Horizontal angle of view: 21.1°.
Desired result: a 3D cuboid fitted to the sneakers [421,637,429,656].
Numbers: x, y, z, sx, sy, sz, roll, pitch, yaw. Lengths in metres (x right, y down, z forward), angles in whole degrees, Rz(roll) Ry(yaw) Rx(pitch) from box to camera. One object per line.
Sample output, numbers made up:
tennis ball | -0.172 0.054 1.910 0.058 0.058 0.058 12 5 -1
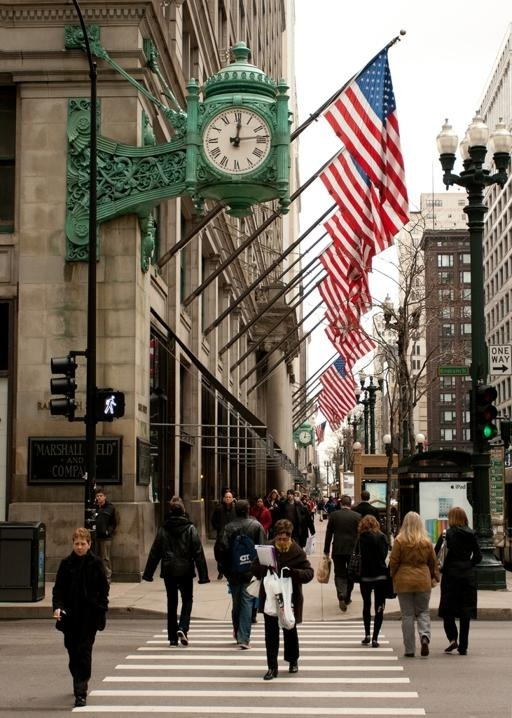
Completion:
sneakers | 1.924 3.270 15.547 0.063 0.231 0.144 0 -4 5

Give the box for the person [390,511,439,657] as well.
person | 1.825 2.629 15.950 0.563 1.667 0.586 -2 -10 20

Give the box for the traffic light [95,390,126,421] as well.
traffic light | -2.149 0.696 20.603 0.385 0.621 0.401 -1 -9 4

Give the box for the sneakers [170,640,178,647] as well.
sneakers | -0.982 3.442 16.549 0.039 0.059 0.127 2 0 4

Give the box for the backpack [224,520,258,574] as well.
backpack | -0.129 2.288 16.638 0.370 0.680 0.336 0 27 -1

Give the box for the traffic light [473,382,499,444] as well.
traffic light | 3.673 0.863 22.043 0.395 1.026 1.708 -1 -11 10

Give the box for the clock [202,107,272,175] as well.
clock | -0.266 -3.858 24.334 0.994 1.226 0.107 1 -4 8

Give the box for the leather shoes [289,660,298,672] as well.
leather shoes | 0.413 3.328 14.834 0.067 0.103 0.226 -2 -18 3

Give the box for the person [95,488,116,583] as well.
person | -2.511 2.926 22.466 0.470 1.563 0.427 1 -20 -6

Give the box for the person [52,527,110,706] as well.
person | -1.727 2.509 13.426 0.516 1.714 0.625 -3 -10 24

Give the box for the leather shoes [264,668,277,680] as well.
leather shoes | 0.168 3.331 14.430 0.130 0.112 0.351 1 -11 3

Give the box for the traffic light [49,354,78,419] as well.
traffic light | -2.829 0.419 20.606 0.348 1.087 0.360 0 6 3

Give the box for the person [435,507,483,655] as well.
person | 2.429 2.653 16.416 0.539 1.757 0.991 0 -10 8

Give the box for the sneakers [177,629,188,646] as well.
sneakers | -0.877 3.405 16.625 0.074 0.103 0.243 -3 -54 11

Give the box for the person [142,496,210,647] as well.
person | -0.925 2.574 16.646 0.783 1.813 0.868 0 -10 8

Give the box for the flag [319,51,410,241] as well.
flag | 2.191 -3.959 25.660 1.803 0.653 5.163 -12 -52 -15
